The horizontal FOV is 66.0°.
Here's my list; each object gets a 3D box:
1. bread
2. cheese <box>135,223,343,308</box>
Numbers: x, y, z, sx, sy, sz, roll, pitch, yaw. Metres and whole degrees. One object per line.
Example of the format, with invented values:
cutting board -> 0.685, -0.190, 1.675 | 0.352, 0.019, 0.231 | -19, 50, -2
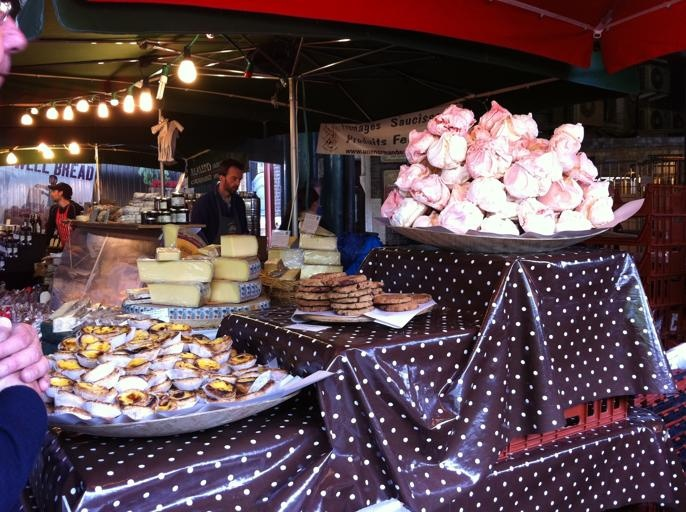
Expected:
bread -> -0.484, 0.298, 1.479 | 0.695, 0.163, 0.555 | 1, 2, 11
cheese -> -0.634, 0.051, 2.378 | 0.521, 0.298, 0.451 | 1, 2, 1
